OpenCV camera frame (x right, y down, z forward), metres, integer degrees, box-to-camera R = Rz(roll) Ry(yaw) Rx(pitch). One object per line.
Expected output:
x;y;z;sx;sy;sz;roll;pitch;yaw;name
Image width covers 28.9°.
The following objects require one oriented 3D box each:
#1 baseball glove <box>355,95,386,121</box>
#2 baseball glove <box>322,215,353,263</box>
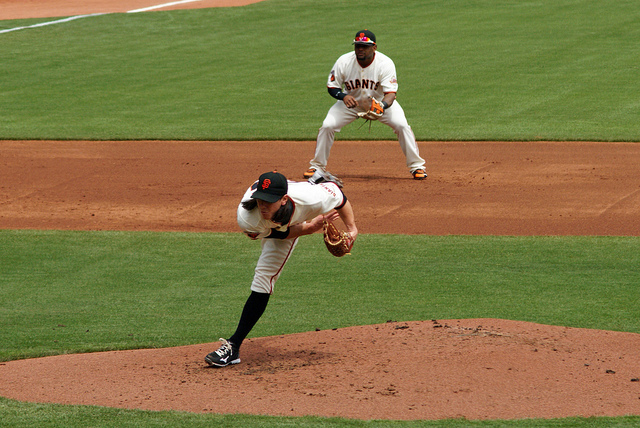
0.890;-2.048;24.235;0.606;0.284;0.421;25;23;15;baseball glove
0.271;0.385;19.638;0.473;0.564;0.190;4;13;-2;baseball glove
